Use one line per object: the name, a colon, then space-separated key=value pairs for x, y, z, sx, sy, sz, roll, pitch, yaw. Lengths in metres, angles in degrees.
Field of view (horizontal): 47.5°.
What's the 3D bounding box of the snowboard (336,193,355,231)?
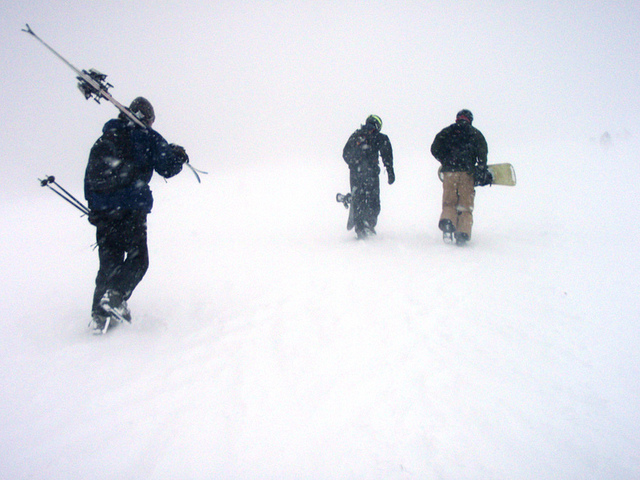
snowboard: x=0.654 y=-0.702 z=18.952 sx=0.392 sy=0.255 sz=1.223 roll=-19 pitch=44 yaw=14
